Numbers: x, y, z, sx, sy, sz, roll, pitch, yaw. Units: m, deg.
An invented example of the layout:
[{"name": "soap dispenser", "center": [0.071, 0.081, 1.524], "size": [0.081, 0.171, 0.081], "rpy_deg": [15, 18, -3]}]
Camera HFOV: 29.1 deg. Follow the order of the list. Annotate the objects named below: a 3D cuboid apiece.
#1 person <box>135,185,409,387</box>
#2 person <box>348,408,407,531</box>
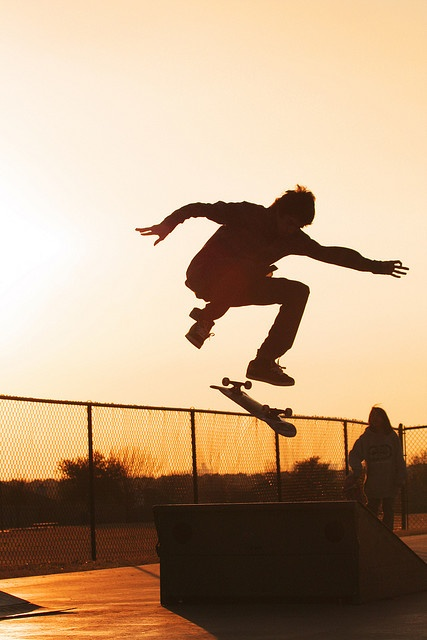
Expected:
[{"name": "person", "center": [0.335, -0.230, 6.298], "size": [1.675, 1.502, 0.851], "rpy_deg": [-3, -5, 9]}, {"name": "person", "center": [1.817, 1.649, 9.032], "size": [0.642, 1.340, 0.508], "rpy_deg": [-5, -5, 28]}]
